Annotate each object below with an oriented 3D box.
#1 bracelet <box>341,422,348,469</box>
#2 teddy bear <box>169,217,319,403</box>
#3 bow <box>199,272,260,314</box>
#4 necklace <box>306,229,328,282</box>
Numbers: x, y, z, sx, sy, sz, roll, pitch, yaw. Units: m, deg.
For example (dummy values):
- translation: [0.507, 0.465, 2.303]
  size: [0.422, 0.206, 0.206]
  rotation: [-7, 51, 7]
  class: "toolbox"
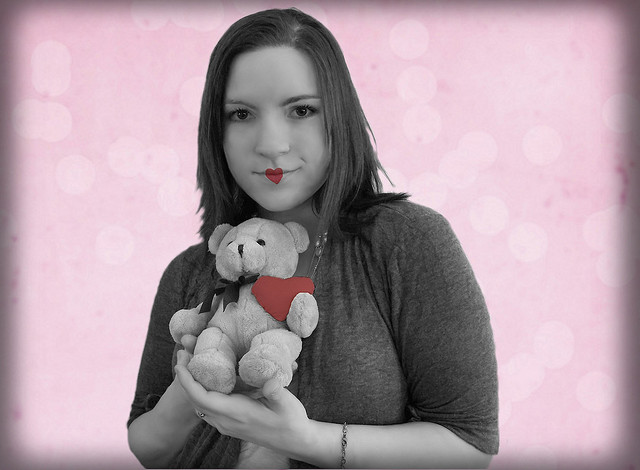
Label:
- translation: [0.075, 0.661, 2.460]
  size: [0.014, 0.125, 0.034]
  rotation: [2, 7, 2]
  class: "bracelet"
- translation: [-0.209, 0.250, 2.425]
  size: [0.566, 0.630, 0.400]
  rotation: [-3, -7, 17]
  class: "teddy bear"
- translation: [-0.281, 0.203, 2.437]
  size: [0.169, 0.082, 0.120]
  rotation: [-19, -4, 27]
  class: "bow"
- translation: [0.001, 0.054, 2.643]
  size: [0.033, 0.215, 0.031]
  rotation: [20, -14, 1]
  class: "necklace"
